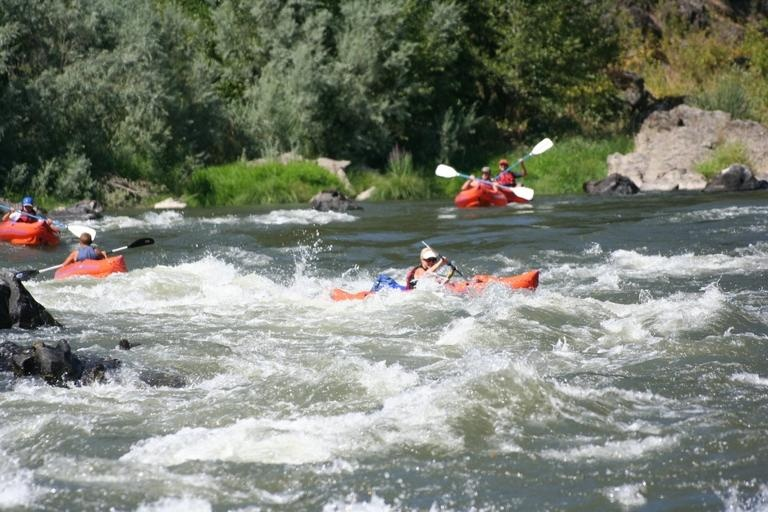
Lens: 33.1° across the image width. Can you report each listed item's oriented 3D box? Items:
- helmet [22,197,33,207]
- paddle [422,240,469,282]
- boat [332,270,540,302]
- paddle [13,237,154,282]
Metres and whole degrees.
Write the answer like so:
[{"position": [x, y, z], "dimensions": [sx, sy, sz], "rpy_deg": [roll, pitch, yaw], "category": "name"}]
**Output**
[{"position": [-10.914, -1.649, 39.269], "dimensions": [0.276, 0.252, 0.467], "rpy_deg": [3, -3, -11], "category": "helmet"}, {"position": [1.838, 0.269, 34.154], "dimensions": [0.181, 0.455, 3.372], "rpy_deg": [44, 4, 24], "category": "paddle"}, {"position": [1.484, 0.763, 33.646], "dimensions": [5.166, 0.674, 0.737], "rpy_deg": [-1, 1, 4], "category": "boat"}, {"position": [-8.319, 0.065, 35.579], "dimensions": [3.943, 0.398, 0.217], "rpy_deg": [-16, 30, -14], "category": "paddle"}]
